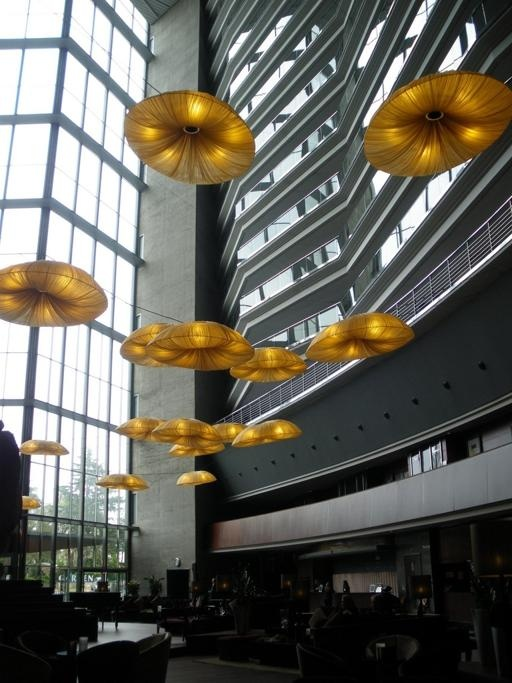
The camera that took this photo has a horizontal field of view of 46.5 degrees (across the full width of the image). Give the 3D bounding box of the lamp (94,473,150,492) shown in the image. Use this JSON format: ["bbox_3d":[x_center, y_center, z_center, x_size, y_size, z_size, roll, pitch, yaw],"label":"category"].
[{"bbox_3d":[-4.879,5.137,21.866,1.041,0.577,1.436,-13,-21,28],"label":"lamp"}]

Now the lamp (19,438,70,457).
[{"bbox_3d":[-7.345,3.643,20.571,0.730,0.477,1.458,-12,-20,26],"label":"lamp"}]

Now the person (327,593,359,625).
[{"bbox_3d":[1.385,4.191,9.206,0.609,0.291,0.808,6,-34,-6],"label":"person"}]

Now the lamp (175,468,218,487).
[{"bbox_3d":[-2.114,4.894,21.466,0.705,0.474,1.601,9,-21,-32],"label":"lamp"}]

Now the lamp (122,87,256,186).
[{"bbox_3d":[-0.814,-2.763,7.968,1.663,0.398,1.621,-7,-21,19],"label":"lamp"}]
